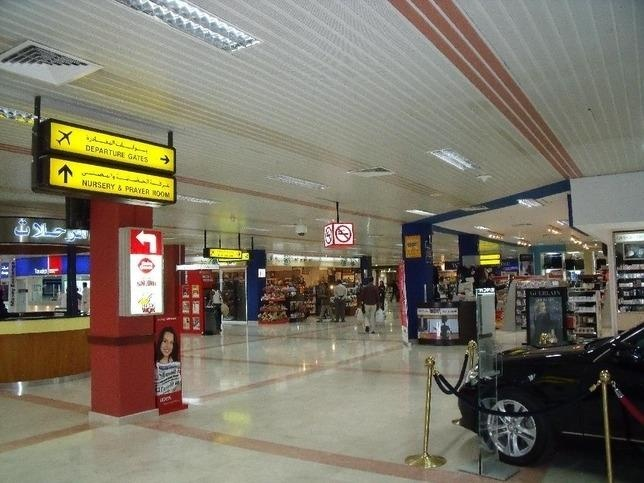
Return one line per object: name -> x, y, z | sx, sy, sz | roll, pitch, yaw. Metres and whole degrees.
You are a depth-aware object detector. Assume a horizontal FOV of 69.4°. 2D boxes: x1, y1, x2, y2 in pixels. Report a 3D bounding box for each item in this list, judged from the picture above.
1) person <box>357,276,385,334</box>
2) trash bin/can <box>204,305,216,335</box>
person -> 1.689, 2.223, 16.359 | 0.685, 1.874, 1.478 | -2, -4, 5
trash bin/can -> -4.058, 2.884, 17.165 | 0.252, 1.021, 0.510 | -4, -5, 26
